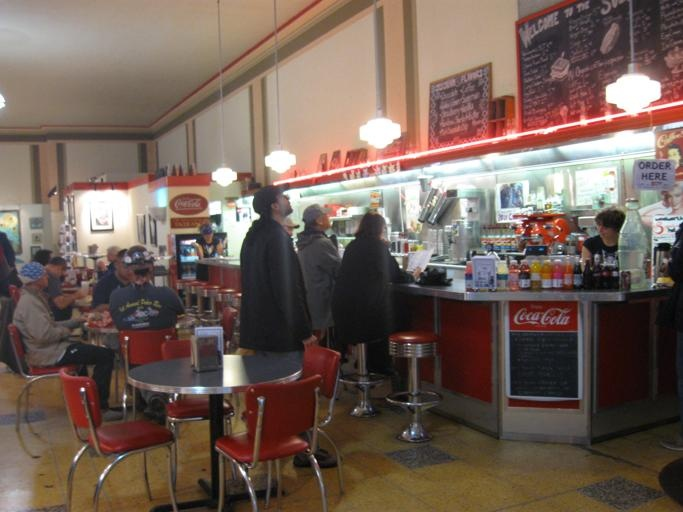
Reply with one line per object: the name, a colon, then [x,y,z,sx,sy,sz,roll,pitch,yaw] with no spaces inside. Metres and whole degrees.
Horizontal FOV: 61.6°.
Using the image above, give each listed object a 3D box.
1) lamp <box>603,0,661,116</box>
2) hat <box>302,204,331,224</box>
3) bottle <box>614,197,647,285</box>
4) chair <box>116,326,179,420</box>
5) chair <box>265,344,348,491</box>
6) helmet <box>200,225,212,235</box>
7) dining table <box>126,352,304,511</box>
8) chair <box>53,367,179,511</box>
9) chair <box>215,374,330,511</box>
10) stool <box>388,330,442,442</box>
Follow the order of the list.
lamp: [2.808,-1.981,5.449,0.492,1.220,1.260,2,10,25]
hat: [-0.254,-0.422,5.648,0.232,0.132,0.162,-31,20,-20]
bottle: [2.467,-0.110,4.858,0.224,0.738,0.353,2,11,26]
chair: [-1.692,1.099,5.187,0.606,0.804,0.574,4,1,41]
chair: [-0.353,1.255,4.048,0.721,0.964,0.688,-9,-22,8]
helmet: [-2.695,-0.526,11.295,0.161,0.184,0.199,3,15,-11]
dining table: [-0.879,1.205,4.115,1.159,0.911,1.145,-1,6,-19]
chair: [-1.661,1.275,4.135,0.730,1.177,1.108,-7,10,-27]
chair: [-0.454,1.235,3.673,0.655,0.984,0.450,-5,10,-14]
stool: [0.657,1.160,5.305,0.494,0.968,0.783,-1,9,6]
